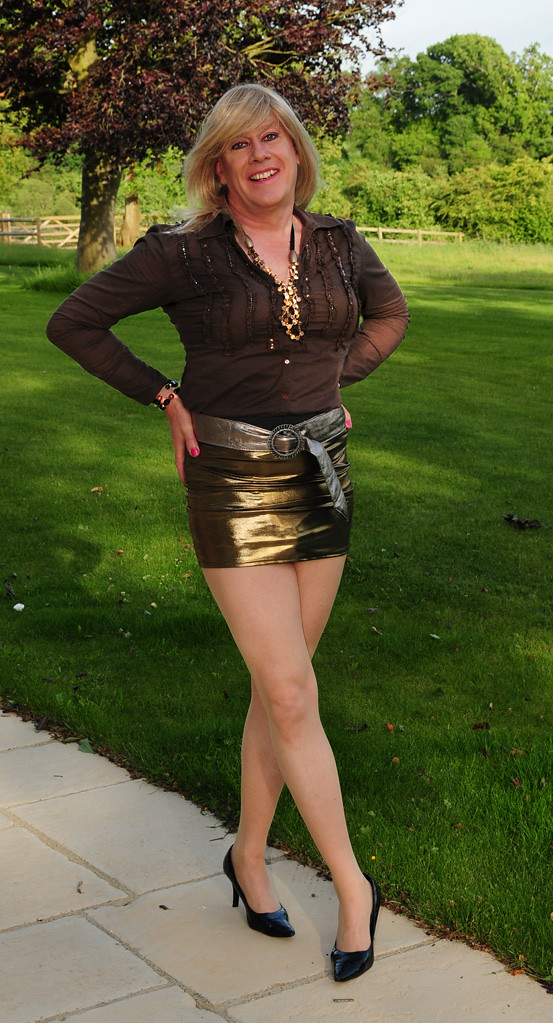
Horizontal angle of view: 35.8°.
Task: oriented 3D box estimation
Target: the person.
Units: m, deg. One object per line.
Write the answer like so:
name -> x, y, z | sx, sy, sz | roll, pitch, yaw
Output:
person -> -0.091, 0.050, 2.298 | 0.750, 2.061, 0.961 | -2, 3, -16

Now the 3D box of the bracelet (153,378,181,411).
bracelet -> -0.280, -0.298, 2.191 | 0.031, 0.083, 0.064 | 37, 4, -20

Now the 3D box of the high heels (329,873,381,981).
high heels -> 0.205, 1.009, 2.098 | 0.102, 0.201, 0.278 | 3, 7, 28
